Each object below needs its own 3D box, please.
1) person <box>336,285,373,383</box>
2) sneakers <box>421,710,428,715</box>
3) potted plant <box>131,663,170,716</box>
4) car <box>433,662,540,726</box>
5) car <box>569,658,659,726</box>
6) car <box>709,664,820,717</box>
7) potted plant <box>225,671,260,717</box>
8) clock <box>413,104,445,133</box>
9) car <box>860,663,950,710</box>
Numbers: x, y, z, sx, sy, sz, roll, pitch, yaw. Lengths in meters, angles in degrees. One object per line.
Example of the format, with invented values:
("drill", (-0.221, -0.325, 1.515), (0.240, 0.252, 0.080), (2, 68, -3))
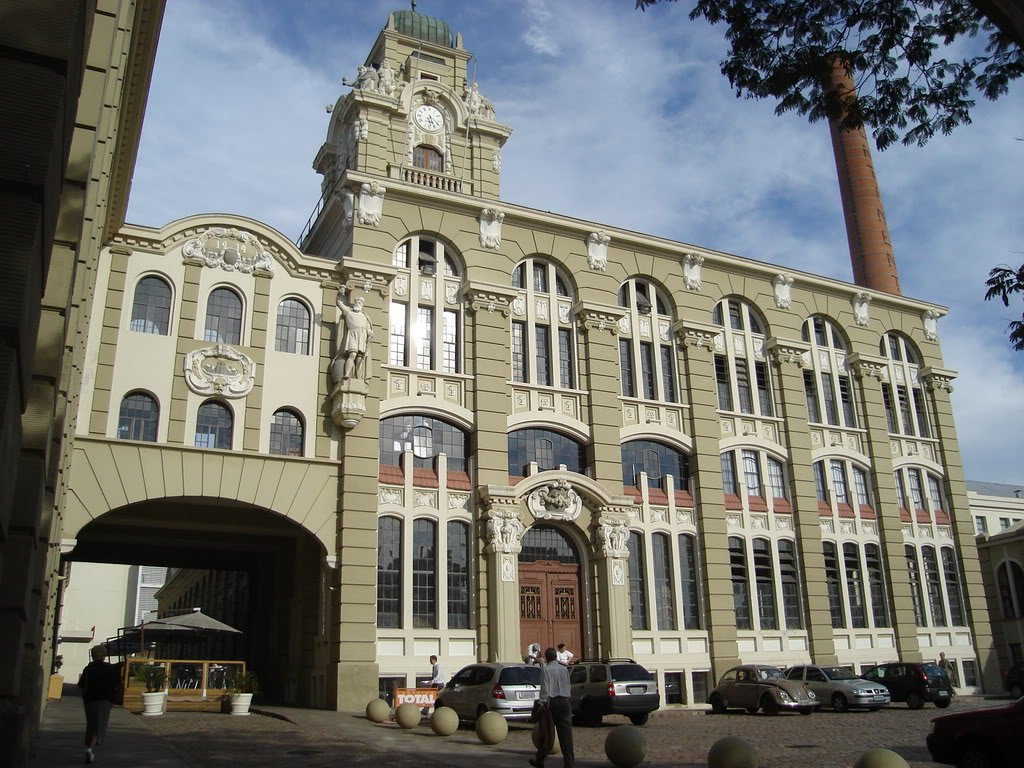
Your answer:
("person", (-5.791, -1.893, 33.062), (1.336, 3.887, 0.934), (3, -20, -6))
("sneakers", (-2.803, 10.613, 29.121), (0.283, 0.192, 0.150), (5, -14, -19))
("potted plant", (-11.900, 10.019, 30.146), (1.350, 1.993, 1.335), (-1, 2, -25))
("car", (-0.698, 8.805, 25.859), (1.122, 1.497, 2.701), (17, -26, -38))
("car", (2.792, 9.333, 27.416), (1.511, 1.300, 3.068), (7, -21, -17))
("car", (8.478, 10.513, 31.001), (1.294, 1.616, 3.529), (10, -22, -25))
("potted plant", (-8.711, 10.067, 29.308), (0.730, 1.348, 1.203), (10, -22, -24))
("clock", (-3.737, -11.659, 39.696), (1.622, 1.598, 0.111), (-2, -22, -41))
("car", (14.831, 11.423, 34.406), (1.818, 1.472, 3.080), (9, -17, -15))
